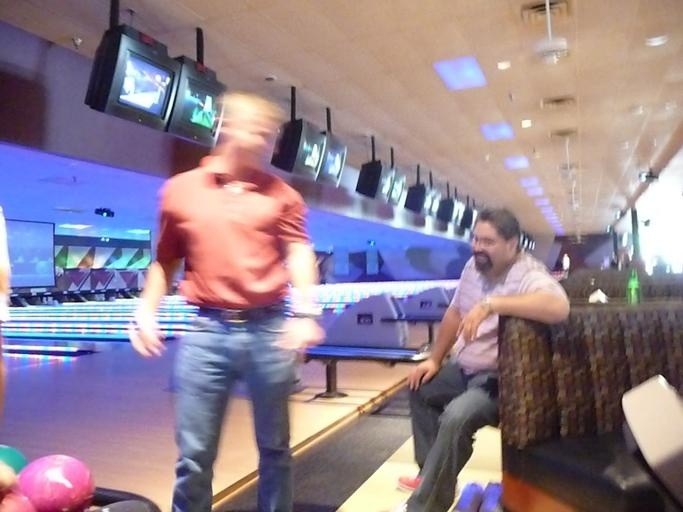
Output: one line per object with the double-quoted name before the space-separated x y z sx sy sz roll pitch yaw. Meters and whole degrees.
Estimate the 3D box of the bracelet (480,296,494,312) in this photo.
"bracelet" 0.593 0.196 1.909 0.023 0.041 0.052 9 5 -17

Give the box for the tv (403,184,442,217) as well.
"tv" 1.721 -1.181 9.942 0.542 0.702 0.713 3 -29 16
